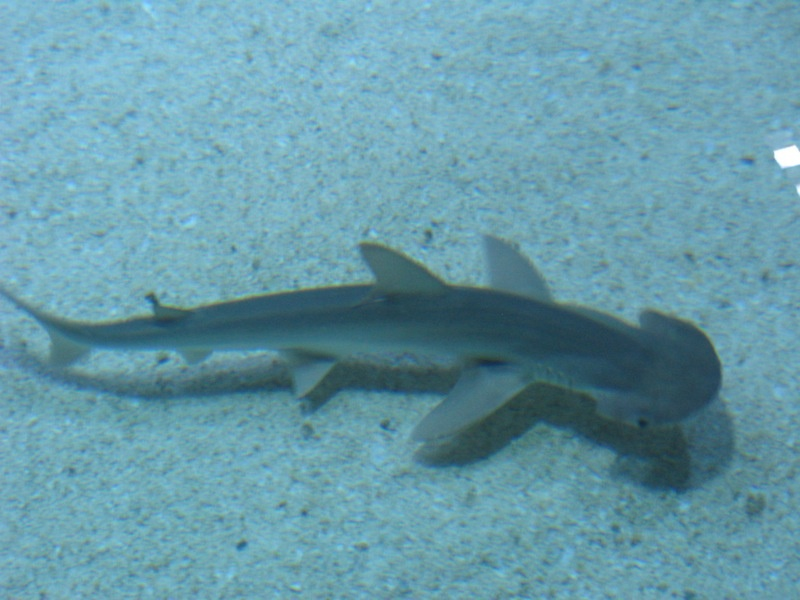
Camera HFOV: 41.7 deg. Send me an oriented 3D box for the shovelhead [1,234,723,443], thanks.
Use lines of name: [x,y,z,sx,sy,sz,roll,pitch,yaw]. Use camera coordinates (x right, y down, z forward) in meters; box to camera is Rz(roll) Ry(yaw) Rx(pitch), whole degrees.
shovelhead: [0.136,0.099,2.486,1.982,0.347,0.328,1,74,11]
